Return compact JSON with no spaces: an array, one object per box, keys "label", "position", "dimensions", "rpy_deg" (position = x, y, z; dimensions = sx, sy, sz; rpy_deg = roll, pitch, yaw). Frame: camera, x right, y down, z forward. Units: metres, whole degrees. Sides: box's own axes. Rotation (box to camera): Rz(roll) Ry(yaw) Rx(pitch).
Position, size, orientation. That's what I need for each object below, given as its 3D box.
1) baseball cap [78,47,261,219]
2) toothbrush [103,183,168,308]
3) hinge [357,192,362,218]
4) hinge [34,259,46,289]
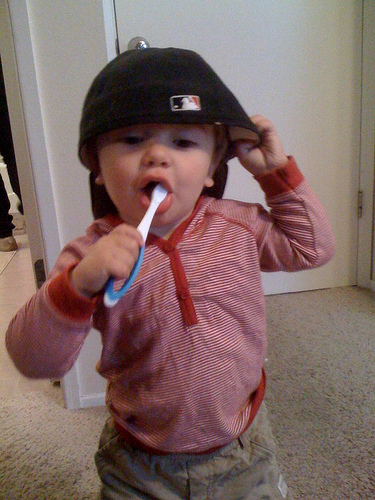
[{"label":"baseball cap","position":[-0.031,-0.131,0.537],"dimensions":[0.213,0.216,0.249],"rpy_deg":[-7,14,-22]},{"label":"toothbrush","position":[-0.034,-0.013,0.427],"dimensions":[0.013,0.155,0.039],"rpy_deg":[33,-22,-26]},{"label":"hinge","position":[0.707,-0.184,1.704],"dimensions":[0.022,0.106,0.014],"rpy_deg":[1,21,15]},{"label":"hinge","position":[-0.396,0.065,1.120],"dimensions":[0.026,0.082,0.047],"rpy_deg":[-13,22,-21]}]
